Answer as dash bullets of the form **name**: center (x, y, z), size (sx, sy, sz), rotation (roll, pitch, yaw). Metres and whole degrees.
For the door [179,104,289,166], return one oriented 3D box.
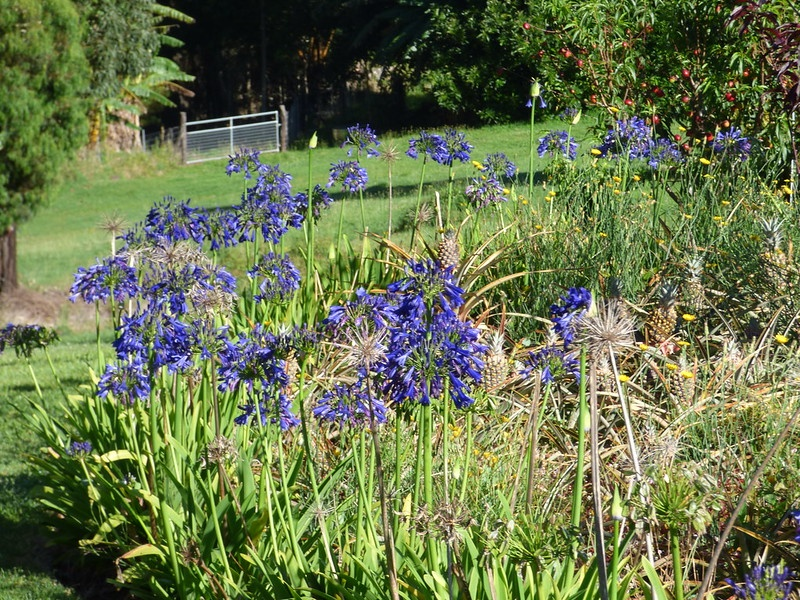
- **door**: center (-3.715, -3.625, 28.685), size (2.149, 1.011, 0.095), rotation (-7, -21, 1)
